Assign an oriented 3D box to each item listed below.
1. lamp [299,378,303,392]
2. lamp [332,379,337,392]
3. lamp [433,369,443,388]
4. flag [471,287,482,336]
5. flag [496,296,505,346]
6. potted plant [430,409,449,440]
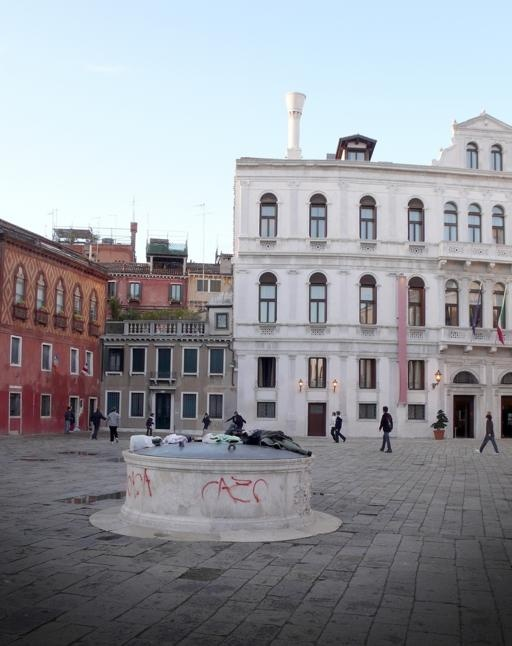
[{"bbox_3d":[2.238,3.095,41.893,0.263,0.552,0.157,-2,-1,-4],"label":"lamp"},{"bbox_3d":[3.918,3.131,41.914,0.286,0.581,0.207,-2,-1,37],"label":"lamp"},{"bbox_3d":[9.184,2.823,42.339,0.568,0.842,0.681,-2,0,-2],"label":"lamp"},{"bbox_3d":[11.227,-0.729,43.062,0.697,2.573,1.953,-2,0,14],"label":"flag"},{"bbox_3d":[12.335,-0.159,42.352,0.520,2.414,2.535,-2,0,16],"label":"flag"},{"bbox_3d":[9.005,4.963,41.201,0.743,1.379,1.402,-2,0,11],"label":"potted plant"}]
